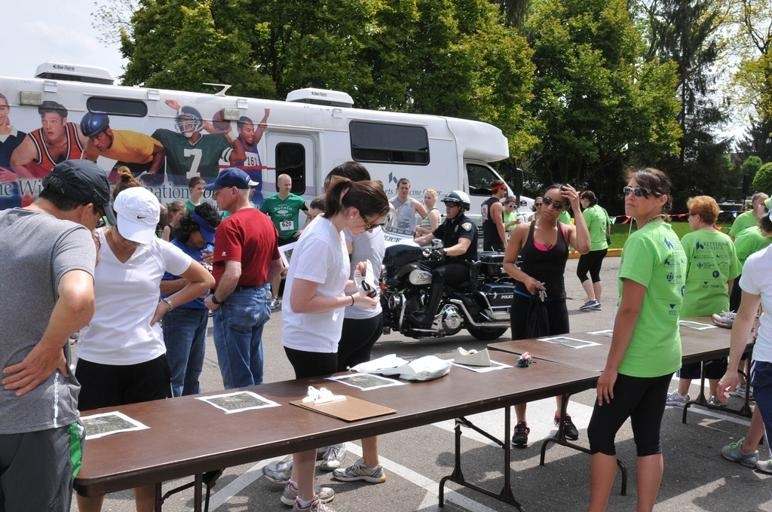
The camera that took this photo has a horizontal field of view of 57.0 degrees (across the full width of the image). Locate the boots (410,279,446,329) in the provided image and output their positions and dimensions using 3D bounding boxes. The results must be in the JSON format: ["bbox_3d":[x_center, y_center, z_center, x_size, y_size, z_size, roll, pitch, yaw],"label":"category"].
[{"bbox_3d":[0.602,0.637,9.639,0.219,0.647,0.476,23,-24,-37],"label":"boots"}]

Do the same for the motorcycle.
[{"bbox_3d":[0.754,0.513,10.007,2.551,1.369,0.975,3,-1,-16],"label":"motorcycle"}]

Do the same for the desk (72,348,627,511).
[{"bbox_3d":[-0.198,1.135,5.277,3.854,0.438,0.978,-1,7,-24],"label":"desk"}]

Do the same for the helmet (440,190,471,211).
[{"bbox_3d":[0.960,-0.749,9.543,0.427,0.294,0.304,-8,14,-28],"label":"helmet"}]

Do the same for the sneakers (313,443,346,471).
[{"bbox_3d":[-0.497,1.822,6.582,0.216,0.229,0.592,-3,-6,14],"label":"sneakers"}]

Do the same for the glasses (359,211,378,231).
[{"bbox_3d":[-0.142,-0.261,5.429,0.117,0.128,0.040,-4,-23,-42],"label":"glasses"}]

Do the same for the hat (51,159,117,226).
[{"bbox_3d":[-1.912,-0.442,4.523,0.530,0.273,0.378,24,0,-19],"label":"hat"}]

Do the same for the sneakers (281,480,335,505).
[{"bbox_3d":[-0.675,1.963,5.911,0.498,0.218,0.177,-3,31,-9],"label":"sneakers"}]

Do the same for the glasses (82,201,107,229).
[{"bbox_3d":[-1.864,-0.269,4.521,0.102,0.075,0.165,41,-12,6],"label":"glasses"}]

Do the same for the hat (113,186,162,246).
[{"bbox_3d":[-1.848,-0.352,5.304,0.358,0.268,0.530,8,32,-29],"label":"hat"}]

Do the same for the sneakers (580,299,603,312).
[{"bbox_3d":[3.658,0.909,12.738,0.462,0.177,0.170,-9,-18,9],"label":"sneakers"}]

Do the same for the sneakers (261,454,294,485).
[{"bbox_3d":[-0.940,1.872,6.165,0.194,0.118,0.300,9,18,23],"label":"sneakers"}]

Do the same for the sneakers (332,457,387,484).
[{"bbox_3d":[-0.242,1.900,6.306,0.476,0.208,0.181,3,-6,-2],"label":"sneakers"}]

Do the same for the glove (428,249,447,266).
[{"bbox_3d":[0.697,-0.012,9.719,0.190,0.245,0.179,5,45,4],"label":"glove"}]

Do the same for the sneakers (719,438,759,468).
[{"bbox_3d":[3.315,1.812,6.713,0.180,0.228,0.380,-8,14,-26],"label":"sneakers"}]

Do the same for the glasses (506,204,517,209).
[{"bbox_3d":[2.481,-0.987,14.198,0.216,0.076,0.214,-1,-2,3],"label":"glasses"}]

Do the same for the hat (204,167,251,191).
[{"bbox_3d":[-1.515,-0.696,6.609,0.439,0.166,0.262,-2,3,13],"label":"hat"}]

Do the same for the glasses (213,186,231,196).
[{"bbox_3d":[-1.530,-0.591,6.551,0.189,0.079,0.117,-10,1,32],"label":"glasses"}]
